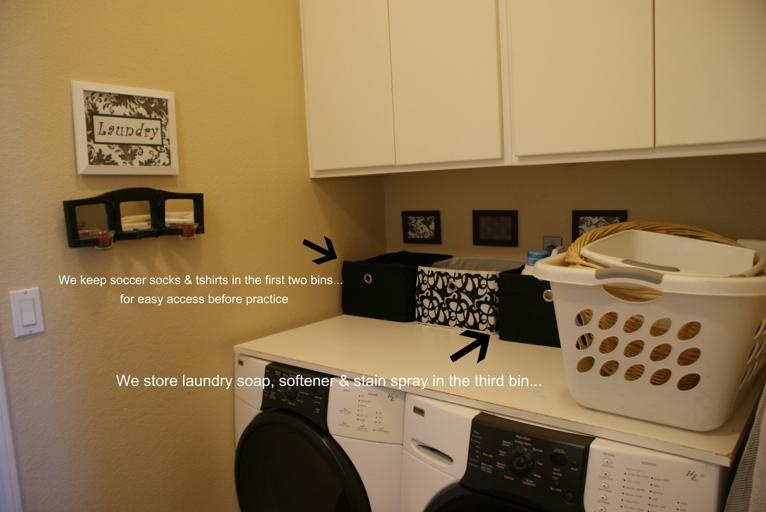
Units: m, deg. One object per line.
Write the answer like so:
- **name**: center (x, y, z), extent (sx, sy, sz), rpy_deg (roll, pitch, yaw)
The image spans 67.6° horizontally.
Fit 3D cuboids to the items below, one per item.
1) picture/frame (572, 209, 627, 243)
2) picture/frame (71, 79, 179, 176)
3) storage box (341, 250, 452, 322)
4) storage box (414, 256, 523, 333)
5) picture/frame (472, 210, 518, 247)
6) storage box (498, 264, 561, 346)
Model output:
- **picture/frame**: center (0.872, -0.126, 2.262), extent (0.158, 0.174, 0.012), rpy_deg (3, 5, 37)
- **picture/frame**: center (-0.993, -0.486, 2.149), extent (0.357, 0.359, 0.024), rpy_deg (-7, 7, -44)
- **storage box**: center (-0.031, 0.182, 2.919), extent (0.447, 0.227, 0.465), rpy_deg (-5, -13, 43)
- **storage box**: center (0.357, 0.181, 2.577), extent (0.359, 0.241, 0.368), rpy_deg (-1, 0, -23)
- **picture/frame**: center (0.546, -0.138, 2.762), extent (0.208, 0.168, 0.016), rpy_deg (1, -8, 0)
- **storage box**: center (0.597, 0.200, 2.365), extent (0.253, 0.274, 0.267), rpy_deg (2, 1, 30)
